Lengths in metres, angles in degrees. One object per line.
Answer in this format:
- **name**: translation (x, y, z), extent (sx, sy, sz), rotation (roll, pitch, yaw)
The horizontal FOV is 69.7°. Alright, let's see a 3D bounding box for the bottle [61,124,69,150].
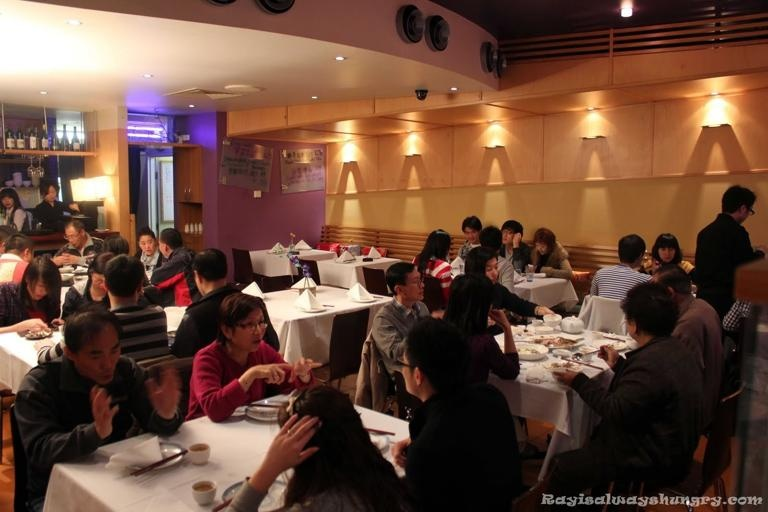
- **bottle**: translation (-5.107, -1.886, 8.770), extent (0.071, 0.394, 0.097), rotation (-4, 7, -25)

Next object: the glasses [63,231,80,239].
- **glasses**: translation (-3.713, -0.246, 6.519), extent (0.122, 0.132, 0.054), rotation (1, 12, -1)

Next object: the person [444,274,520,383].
- **person**: translation (0.613, 0.465, 3.438), extent (0.387, 0.900, 0.300), rotation (21, 43, 41)

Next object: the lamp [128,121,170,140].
- **lamp**: translation (-4.267, -2.215, 9.905), extent (0.415, 0.104, 0.397), rotation (17, 24, 24)

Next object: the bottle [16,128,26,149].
- **bottle**: translation (-5.421, -1.719, 8.175), extent (0.097, 0.275, 0.149), rotation (-1, 6, -2)

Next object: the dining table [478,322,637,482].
- **dining table**: translation (1.122, 0.891, 3.565), extent (0.590, 0.261, 1.076), rotation (7, 12, 39)

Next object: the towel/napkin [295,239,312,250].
- **towel/napkin**: translation (-1.385, -0.165, 9.469), extent (0.205, 0.129, 0.205), rotation (6, -3, -22)

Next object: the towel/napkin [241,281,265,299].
- **towel/napkin**: translation (-1.305, 0.335, 5.480), extent (0.183, 0.127, 0.184), rotation (-14, 17, -5)

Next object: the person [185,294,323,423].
- **person**: translation (-0.762, 0.482, 3.489), extent (0.730, 1.091, 0.659), rotation (4, 9, 32)

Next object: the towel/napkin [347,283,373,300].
- **towel/napkin**: translation (-0.234, 0.387, 5.590), extent (0.220, 0.152, 0.163), rotation (-3, 3, -42)

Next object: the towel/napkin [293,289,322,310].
- **towel/napkin**: translation (-0.715, 0.414, 5.125), extent (0.209, 0.175, 0.192), rotation (0, 0, 44)

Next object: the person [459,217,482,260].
- **person**: translation (1.068, -0.219, 6.869), extent (0.270, 0.517, 1.210), rotation (0, 6, 8)

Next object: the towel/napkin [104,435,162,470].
- **towel/napkin**: translation (-1.184, 0.946, 2.602), extent (0.176, 0.070, 0.181), rotation (-19, -3, -28)

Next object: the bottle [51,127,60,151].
- **bottle**: translation (-5.173, -1.808, 8.631), extent (0.074, 0.299, 0.157), rotation (0, 6, 7)

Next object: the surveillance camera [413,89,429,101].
- **surveillance camera**: translation (0.480, -2.052, 7.050), extent (0.144, 0.109, 0.147), rotation (-1, 9, 0)

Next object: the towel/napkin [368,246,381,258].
- **towel/napkin**: translation (-0.160, -0.050, 8.519), extent (0.174, 0.173, 0.171), rotation (-1, 0, -5)

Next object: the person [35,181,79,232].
- **person**: translation (-5.186, -0.772, 8.632), extent (0.689, 0.811, 0.565), rotation (-4, 4, 24)

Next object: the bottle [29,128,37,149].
- **bottle**: translation (-5.320, -1.747, 8.309), extent (0.109, 0.284, 0.164), rotation (-5, 7, -32)

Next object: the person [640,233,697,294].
- **person**: translation (2.941, 0.289, 5.638), extent (0.468, 0.986, 0.361), rotation (-4, -3, 12)

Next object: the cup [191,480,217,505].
- **cup**: translation (-0.804, 1.045, 2.443), extent (0.084, 0.062, 0.087), rotation (3, 10, 0)

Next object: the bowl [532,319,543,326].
- **bowl**: translation (1.307, 0.576, 4.682), extent (0.084, 0.042, 0.067), rotation (0, 5, 14)

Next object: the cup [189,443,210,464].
- **cup**: translation (-0.904, 0.954, 2.686), extent (0.085, 0.062, 0.079), rotation (-1, 7, 0)

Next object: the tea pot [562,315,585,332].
- **tea pot**: translation (1.503, 0.551, 4.406), extent (0.128, 0.094, 0.131), rotation (1, 7, 0)

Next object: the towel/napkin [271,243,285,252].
- **towel/napkin**: translation (-1.712, -0.110, 8.895), extent (0.187, 0.099, 0.203), rotation (3, 14, 17)

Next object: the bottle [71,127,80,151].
- **bottle**: translation (-4.995, -1.892, 8.881), extent (0.096, 0.396, 0.165), rotation (-3, 6, -13)

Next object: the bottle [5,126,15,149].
- **bottle**: translation (-5.516, -1.717, 8.092), extent (0.122, 0.282, 0.109), rotation (-5, 7, -34)

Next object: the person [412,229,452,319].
- **person**: translation (0.593, 0.189, 6.127), extent (0.471, 1.006, 0.546), rotation (10, 25, 34)

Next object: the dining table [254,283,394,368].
- **dining table**: translation (-0.650, 0.603, 5.150), extent (0.765, 0.294, 0.781), rotation (11, 14, 39)

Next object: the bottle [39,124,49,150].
- **bottle**: translation (-5.250, -1.819, 8.462), extent (0.129, 0.391, 0.192), rotation (-5, 7, -30)
